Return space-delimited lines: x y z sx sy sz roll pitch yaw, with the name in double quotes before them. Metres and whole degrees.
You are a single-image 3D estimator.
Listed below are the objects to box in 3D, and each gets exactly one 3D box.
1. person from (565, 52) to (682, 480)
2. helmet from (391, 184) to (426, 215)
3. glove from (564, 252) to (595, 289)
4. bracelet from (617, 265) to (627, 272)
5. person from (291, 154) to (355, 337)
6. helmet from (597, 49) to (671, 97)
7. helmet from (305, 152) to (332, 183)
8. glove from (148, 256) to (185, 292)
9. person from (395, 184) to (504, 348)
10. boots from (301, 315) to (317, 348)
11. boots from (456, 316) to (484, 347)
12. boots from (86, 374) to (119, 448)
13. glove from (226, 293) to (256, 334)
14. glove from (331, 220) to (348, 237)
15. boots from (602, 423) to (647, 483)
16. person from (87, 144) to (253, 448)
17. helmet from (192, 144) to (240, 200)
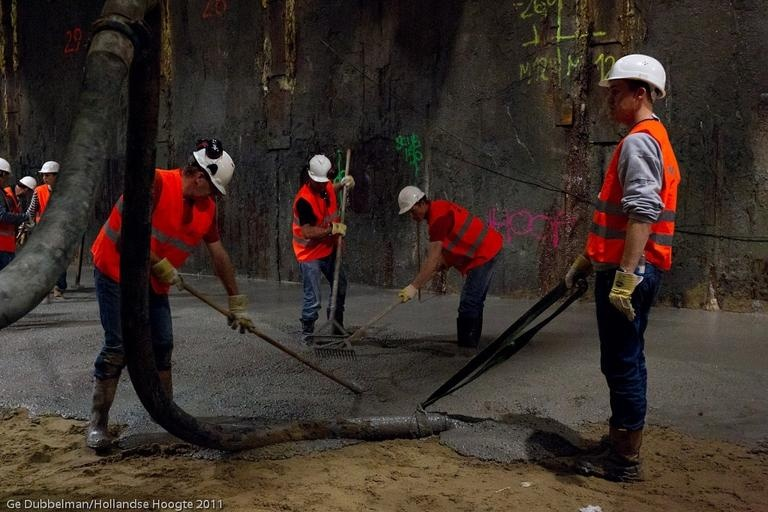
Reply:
"person" 1.938 0.087 6.703 0.682 3.410 0.453 4 5 19
"helmet" 0.333 -0.628 9.149 0.383 0.201 0.296 -44 29 -19
"glove" 1.634 0.091 7.071 0.312 0.131 0.185 -37 47 -10
"bracelet" 1.857 0.095 6.532 0.049 0.053 0.082 0 -5 8
"person" -0.728 -0.132 9.822 0.653 2.143 1.281 2 5 -3
"helmet" 2.010 -1.541 6.757 0.463 0.242 0.355 13 -6 3
"helmet" -0.763 -1.035 9.821 0.251 0.182 0.335 -1 44 -14
"glove" -1.857 0.142 7.169 0.256 0.282 0.234 1 5 -14
"person" 0.734 0.130 9.020 1.145 1.726 0.825 2 5 -6
"boots" -0.844 0.864 9.422 0.161 0.298 0.411 2 4 -5
"boots" 0.926 0.836 9.081 0.319 0.328 0.295 -1 -4 31
"boots" -2.415 1.360 7.164 0.231 0.615 0.134 1 5 -16
"glove" -1.332 0.529 7.646 0.154 0.345 0.242 -7 -3 22
"glove" -0.531 -0.320 9.652 0.151 0.159 0.251 2 4 -4
"boots" 1.910 1.622 6.720 0.430 0.515 0.306 2 -2 -12
"person" -1.894 0.301 7.291 1.257 2.734 0.781 -2 6 -44
"helmet" -1.457 -0.817 7.314 0.248 0.476 0.349 -35 10 15
